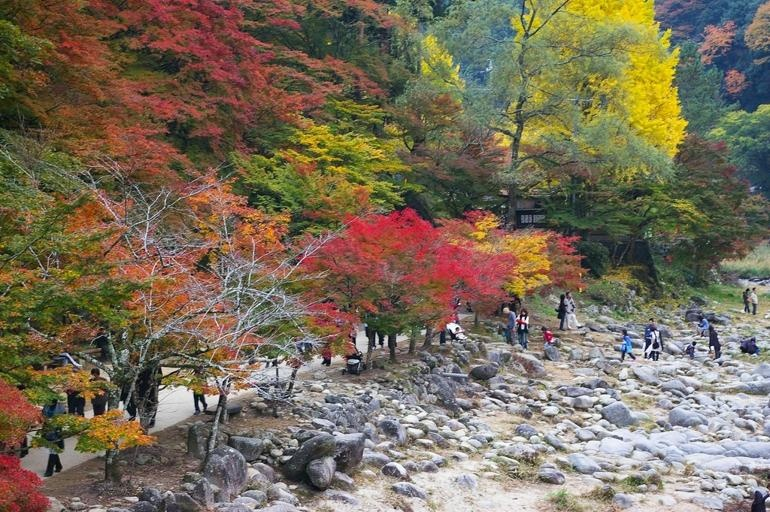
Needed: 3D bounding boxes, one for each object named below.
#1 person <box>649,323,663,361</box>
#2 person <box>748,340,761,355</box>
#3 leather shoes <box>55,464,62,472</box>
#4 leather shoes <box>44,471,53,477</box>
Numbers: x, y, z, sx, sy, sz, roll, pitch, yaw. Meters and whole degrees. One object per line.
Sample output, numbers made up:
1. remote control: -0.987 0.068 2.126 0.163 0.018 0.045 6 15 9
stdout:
1. person: 11.200 3.560 29.421 0.538 1.524 0.969 6 5 18
2. person: 15.378 3.745 29.438 0.387 0.547 0.997 6 4 26
3. leather shoes: -8.297 5.400 17.991 0.163 0.142 0.083 5 -3 -4
4. leather shoes: -8.470 5.466 17.814 0.204 0.120 0.160 2 4 -12
